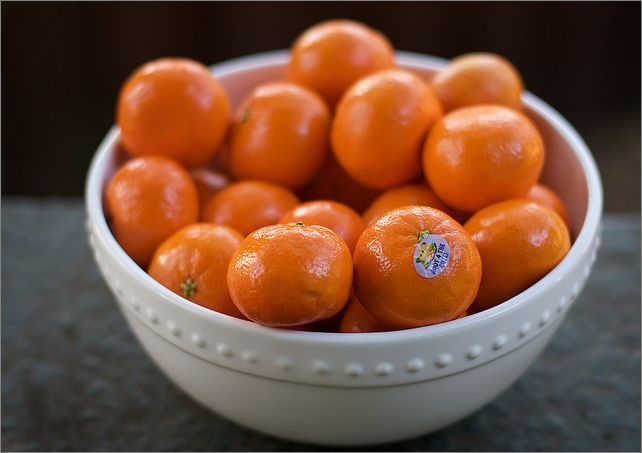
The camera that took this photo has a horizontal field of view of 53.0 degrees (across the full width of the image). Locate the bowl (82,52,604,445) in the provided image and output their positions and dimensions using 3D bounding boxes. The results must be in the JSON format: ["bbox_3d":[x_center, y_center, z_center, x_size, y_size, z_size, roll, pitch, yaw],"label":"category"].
[{"bbox_3d":[0.043,0.065,0.858,0.703,0.234,0.350,-6,40,-7],"label":"bowl"}]
